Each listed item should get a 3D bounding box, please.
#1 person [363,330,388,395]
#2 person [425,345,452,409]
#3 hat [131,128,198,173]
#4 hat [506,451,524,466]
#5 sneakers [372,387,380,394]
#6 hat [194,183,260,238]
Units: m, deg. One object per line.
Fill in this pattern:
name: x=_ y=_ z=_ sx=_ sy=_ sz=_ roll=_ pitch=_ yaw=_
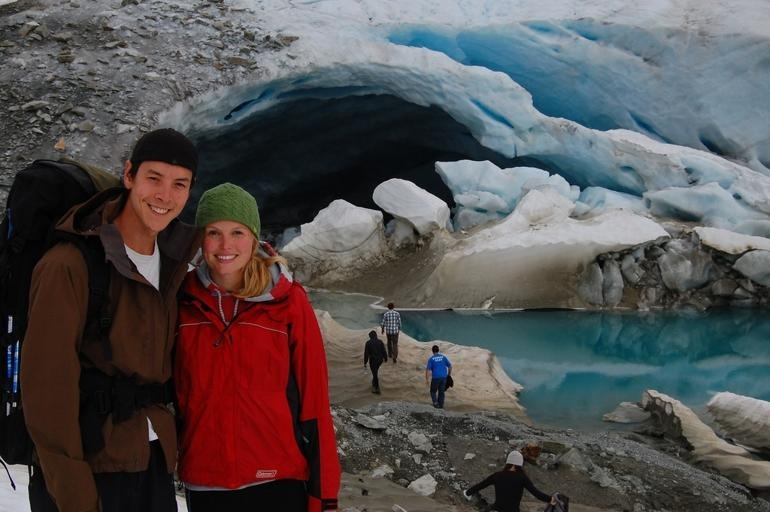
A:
person: x=-0.176 y=1.874 z=11.654 sx=0.391 sy=1.079 sz=0.735 roll=3 pitch=4 yaw=0
person: x=0.907 y=2.013 z=11.070 sx=0.415 sy=1.168 sz=1.045 roll=3 pitch=4 yaw=4
hat: x=-1.908 y=-0.962 z=5.615 sx=0.515 sy=0.293 sz=0.492 roll=17 pitch=17 yaw=31
hat: x=1.556 y=2.412 z=7.768 sx=0.151 sy=0.208 sz=0.166 roll=4 pitch=4 yaw=22
sneakers: x=-0.157 y=2.377 z=11.489 sx=0.138 sy=0.079 sz=0.138 roll=5 pitch=29 yaw=18
hat: x=-1.406 y=-0.469 z=5.764 sx=0.476 sy=0.351 sz=0.445 roll=-26 pitch=8 yaw=-6
